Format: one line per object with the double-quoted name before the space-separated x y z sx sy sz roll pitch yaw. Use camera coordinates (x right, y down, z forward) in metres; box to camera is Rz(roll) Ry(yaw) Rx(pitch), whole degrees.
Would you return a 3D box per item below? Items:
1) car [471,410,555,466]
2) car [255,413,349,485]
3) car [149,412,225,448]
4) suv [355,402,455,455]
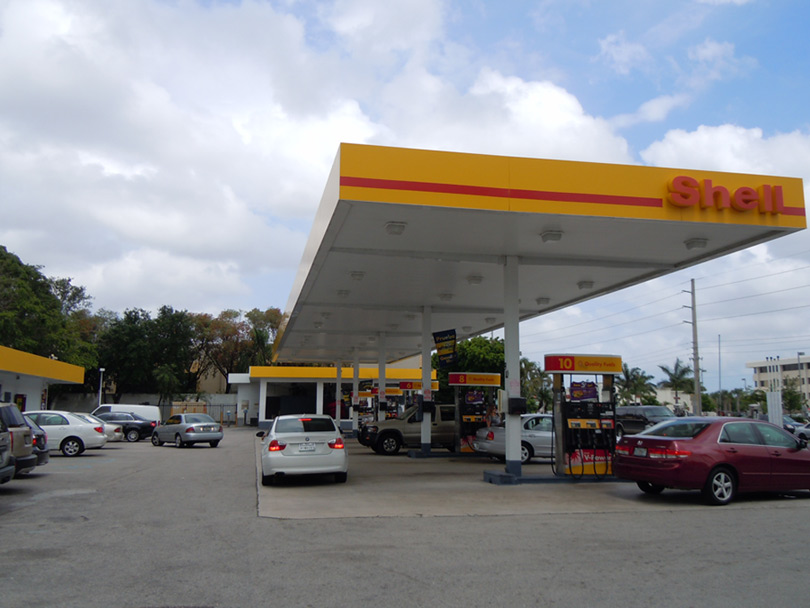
"car" 3.850 4.640 21.469 2.456 1.740 1.322 0 -13 5
"car" -2.586 3.652 15.592 2.134 1.798 1.621 3 -13 -5
"car" -10.659 6.162 30.112 3.700 1.603 1.452 -9 -16 36
"suv" 0.189 5.314 26.563 3.460 1.710 2.061 3 -9 -1
